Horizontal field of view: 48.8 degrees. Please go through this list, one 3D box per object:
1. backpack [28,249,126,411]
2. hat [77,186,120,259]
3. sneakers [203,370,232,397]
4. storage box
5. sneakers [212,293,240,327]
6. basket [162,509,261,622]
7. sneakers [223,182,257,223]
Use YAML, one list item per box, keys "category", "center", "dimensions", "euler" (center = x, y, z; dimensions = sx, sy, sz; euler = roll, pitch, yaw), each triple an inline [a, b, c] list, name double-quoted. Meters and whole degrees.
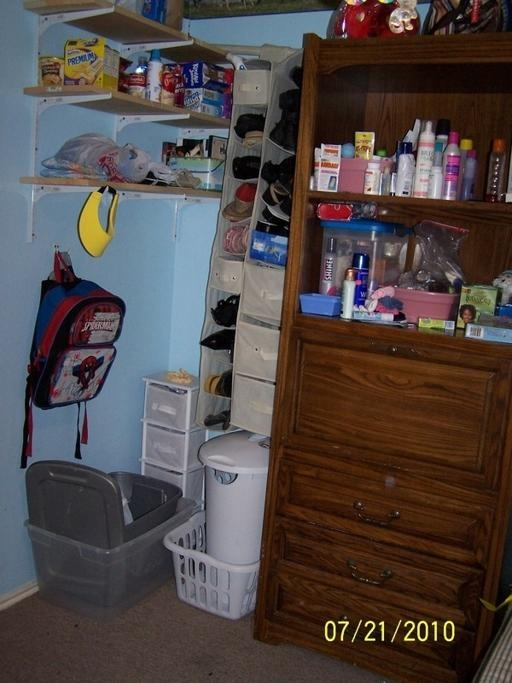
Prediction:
- category: "backpack"
  center: [-0.620, -0.036, 1.953]
  dimensions: [0.195, 0.524, 0.315]
  euler: [7, 5, 25]
- category: "hat"
  center: [-0.537, -0.385, 1.833]
  dimensions: [0.064, 0.261, 0.193]
  euler: [20, 18, 41]
- category: "sneakers"
  center: [-0.141, 0.152, 2.060]
  dimensions: [0.098, 0.084, 0.152]
  euler: [5, 5, -4]
- category: "storage box"
  center: [-0.529, 0.636, 2.181]
  dimensions: [0.457, 0.576, 0.618]
  euler: [4, 7, 28]
- category: "sneakers"
  center: [-0.112, -0.104, 1.979]
  dimensions: [0.089, 0.120, 0.043]
  euler: [11, -6, -6]
- category: "basket"
  center: [-0.142, 0.843, 2.113]
  dimensions: [0.266, 0.220, 0.334]
  euler: [1, -10, 28]
- category: "sneakers"
  center: [-0.043, -0.456, 1.933]
  dimensions: [0.099, 0.143, 0.059]
  euler: [26, 13, 18]
